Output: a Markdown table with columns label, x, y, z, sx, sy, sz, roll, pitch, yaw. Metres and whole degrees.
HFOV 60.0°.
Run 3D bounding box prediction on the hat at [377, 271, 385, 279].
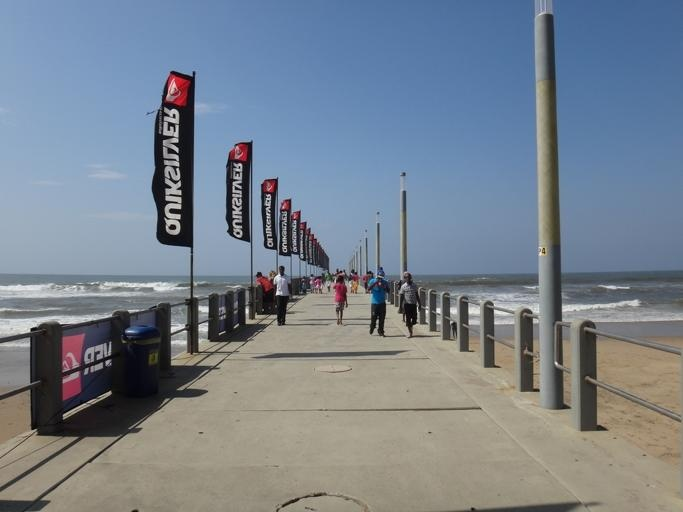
| label | x | y | z | sx | sy | sz | roll | pitch | yaw |
| --- | --- | --- | --- | --- | --- | --- | --- | --- | --- |
| hat | 1.258 | 0.568 | 18.713 | 0.275 | 0.163 | 0.419 | 4 | 7 | 12 |

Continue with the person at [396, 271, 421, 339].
| label | x | y | z | sx | sy | sz | roll | pitch | yaw |
| --- | --- | --- | --- | --- | --- | --- | --- | --- | --- |
| person | 2.056 | 1.429 | 17.602 | 0.562 | 1.949 | 0.533 | -7 | 9 | -19 |

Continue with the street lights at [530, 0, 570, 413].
| label | x | y | z | sx | sy | sz | roll | pitch | yaw |
| --- | --- | --- | --- | --- | --- | --- | --- | --- | --- |
| street lights | 3.191 | -0.814 | 9.088 | 0.363 | 6.403 | 0.499 | 0 | 0 | 20 |

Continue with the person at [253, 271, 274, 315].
| label | x | y | z | sx | sy | sz | roll | pitch | yaw |
| --- | --- | --- | --- | --- | --- | --- | --- | --- | --- |
| person | -3.271 | 1.256 | 24.529 | 0.689 | 1.327 | 0.527 | 11 | 26 | 29 |
